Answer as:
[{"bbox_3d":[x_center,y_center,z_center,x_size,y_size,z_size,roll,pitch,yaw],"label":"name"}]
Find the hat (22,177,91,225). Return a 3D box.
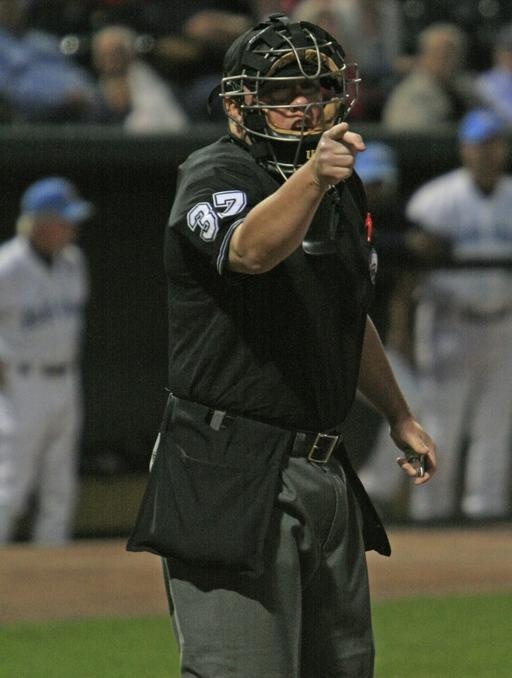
[{"bbox_3d":[-0.790,-0.543,4.389,0.229,0.177,0.218,9,19,39],"label":"hat"}]

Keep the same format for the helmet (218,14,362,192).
[{"bbox_3d":[-0.008,-0.494,2.261,0.351,0.292,0.362,-9,12,-20],"label":"helmet"}]
